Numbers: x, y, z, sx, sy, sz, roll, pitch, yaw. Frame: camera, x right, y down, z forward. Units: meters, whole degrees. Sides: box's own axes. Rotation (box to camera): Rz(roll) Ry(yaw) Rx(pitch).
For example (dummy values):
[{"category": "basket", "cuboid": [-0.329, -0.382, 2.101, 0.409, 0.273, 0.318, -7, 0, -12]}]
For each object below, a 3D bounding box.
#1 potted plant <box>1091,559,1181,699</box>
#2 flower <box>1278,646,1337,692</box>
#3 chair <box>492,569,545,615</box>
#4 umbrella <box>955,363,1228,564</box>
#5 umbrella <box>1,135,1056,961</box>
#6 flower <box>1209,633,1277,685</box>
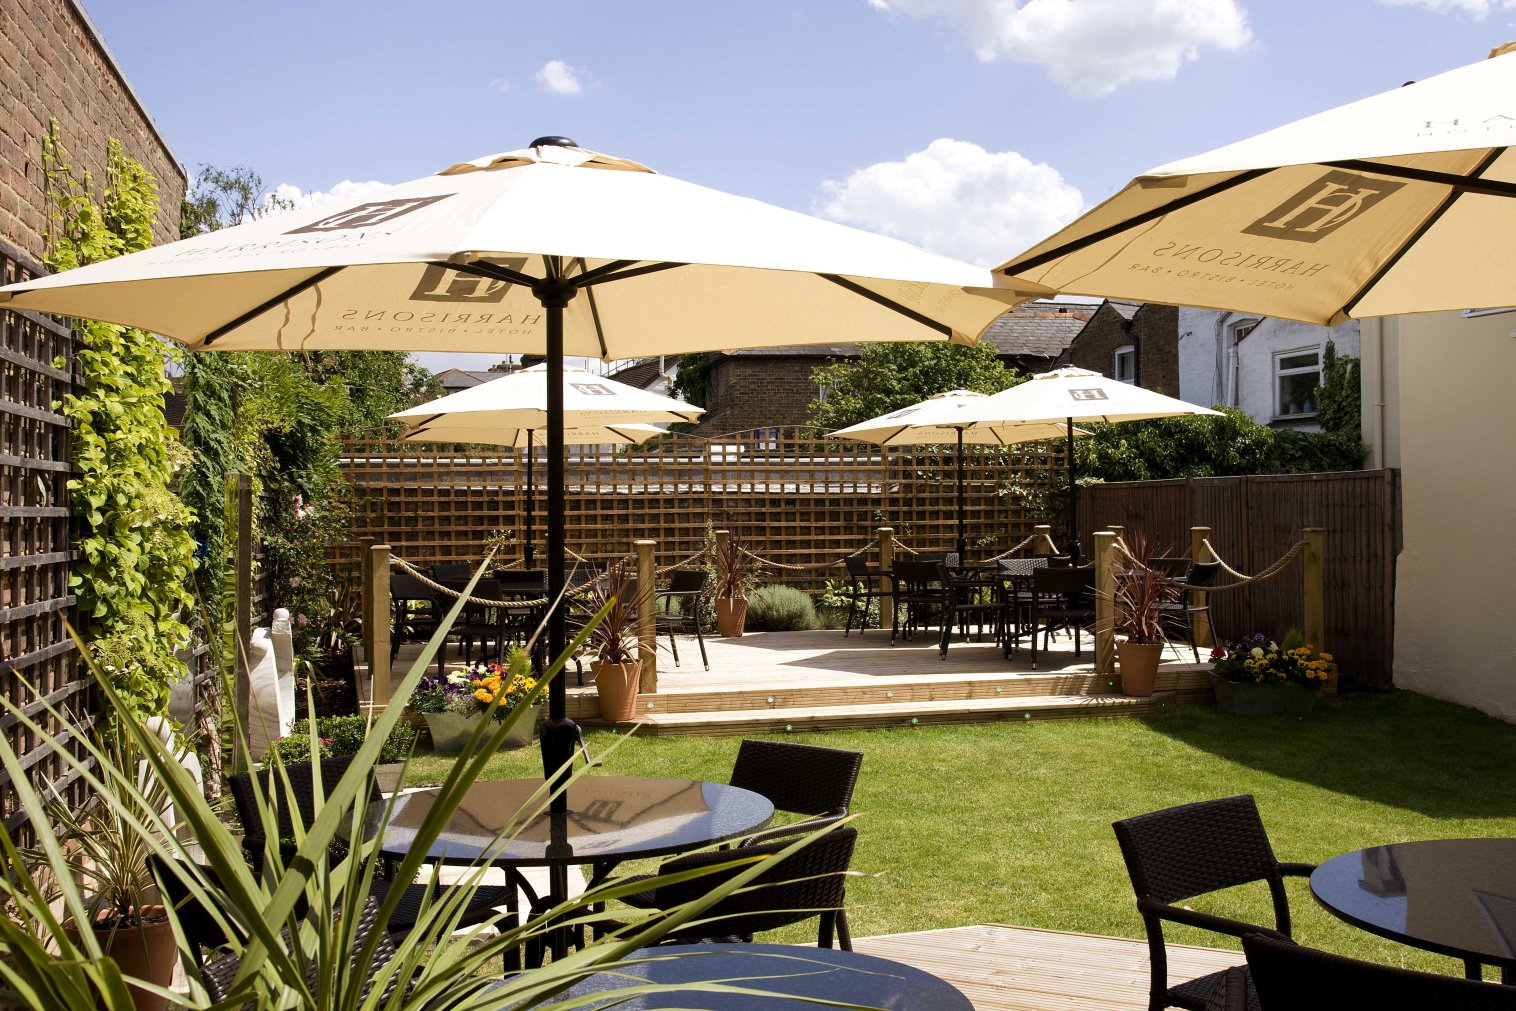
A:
[{"category": "potted plant", "cuboid": [3.270, 1.103, 11.638, 1.026, 1.368, 1.046, 1, -2, 32]}, {"category": "flower", "cuboid": [4.830, 1.383, 11.186, 0.466, 0.299, 0.590, 4, -4, 14]}, {"category": "chair", "cuboid": [-1.943, 0.702, 10.475, 0.440, 0.406, 0.341, 1, -3, -32]}, {"category": "umbrella", "cuboid": [2.963, -0.510, 12.661, 2.159, 1.386, 2.075, 0, -1, -2]}, {"category": "umbrella", "cuboid": [-0.963, -0.263, 5.823, 3.474, 2.910, 3.287, 0, -3, -6]}, {"category": "flower", "cuboid": [4.240, 1.339, 11.106, 0.443, 0.251, 0.450, -1, 0, 44]}]
